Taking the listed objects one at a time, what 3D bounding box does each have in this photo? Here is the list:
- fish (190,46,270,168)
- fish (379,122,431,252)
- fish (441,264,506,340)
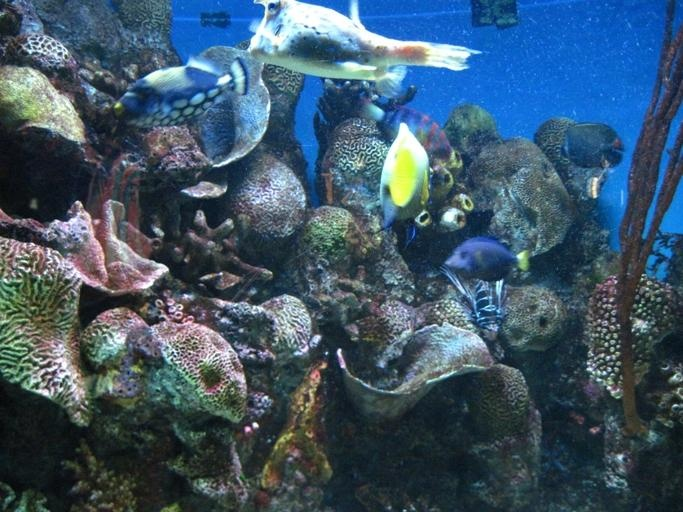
[{"bbox_3d":[-1.128,-1.565,8.804,1.111,1.190,0.422,-14,-17,35],"label":"fish"},{"bbox_3d":[0.582,-0.760,7.741,0.545,0.937,0.332,-21,42,-29],"label":"fish"},{"bbox_3d":[1.601,0.557,9.539,0.550,0.472,0.850,-7,45,-5],"label":"fish"}]
